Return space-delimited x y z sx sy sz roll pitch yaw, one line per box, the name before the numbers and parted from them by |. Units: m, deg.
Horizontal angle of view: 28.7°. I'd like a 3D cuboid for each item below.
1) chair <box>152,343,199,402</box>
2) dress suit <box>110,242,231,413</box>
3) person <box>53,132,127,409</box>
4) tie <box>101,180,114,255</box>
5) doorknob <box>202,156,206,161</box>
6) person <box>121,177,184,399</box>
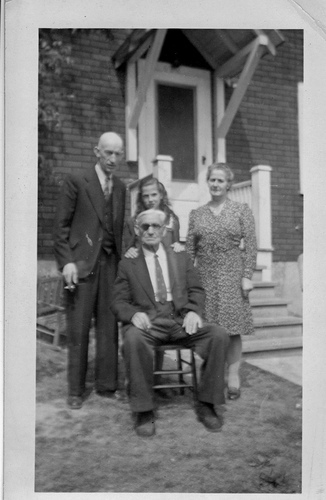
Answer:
chair | 0.142 0.791 3.724 0.207 0.328 0.220 -14 4 -26
dress suit | 0.055 0.346 3.633 0.625 1.095 0.569 0 0 -17
person | -0.279 0.086 3.785 0.511 1.513 0.352 -2 0 1
tie | -0.314 -0.166 3.761 0.099 0.466 0.051 3 -39 -7
doorknob | 0.313 -0.605 4.186 0.022 0.030 0.037 2 2 23
person | -0.078 0.220 3.978 0.409 1.304 0.380 0 9 -19
